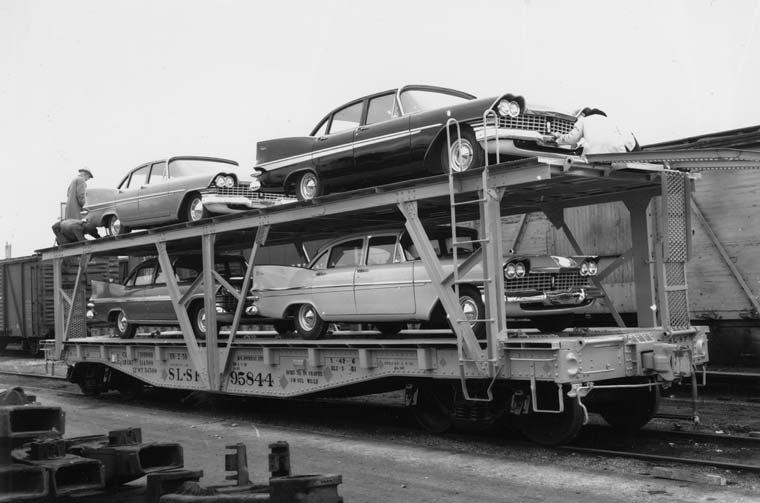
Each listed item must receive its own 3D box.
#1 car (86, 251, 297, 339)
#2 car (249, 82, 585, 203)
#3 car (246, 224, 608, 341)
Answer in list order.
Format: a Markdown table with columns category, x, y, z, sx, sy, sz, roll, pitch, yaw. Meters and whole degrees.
| category | x | y | z | sx | sy | sz | roll | pitch | yaw |
| --- | --- | --- | --- | --- | --- | --- | --- | --- | --- |
| car | -4.022 | 0.975 | 19.776 | 5.260 | 1.851 | 2.391 | -5 | -5 | 45 |
| car | 0.575 | -1.982 | 16.709 | 2.833 | 1.789 | 6.263 | -3 | -1 | -45 |
| car | 0.629 | 0.550 | 15.747 | 5.731 | 1.809 | 2.028 | -1 | 0 | 34 |
